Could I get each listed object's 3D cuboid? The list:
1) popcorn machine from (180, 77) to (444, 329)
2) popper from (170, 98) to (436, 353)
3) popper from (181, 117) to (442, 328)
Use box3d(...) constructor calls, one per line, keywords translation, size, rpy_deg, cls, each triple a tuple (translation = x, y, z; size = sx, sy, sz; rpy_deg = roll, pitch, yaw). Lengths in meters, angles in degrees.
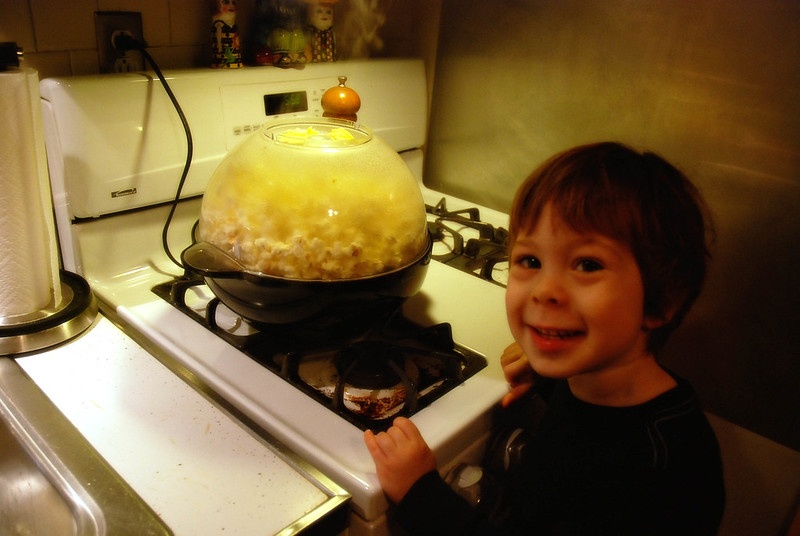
box3d(translation=(-0.214, -0.138, 1.094), size=(0.349, 0.294, 0.445), rpy_deg=(-8, 23, -41), cls="popcorn machine")
box3d(translation=(-0.166, -0.081, 1.107), size=(0.394, 0.343, 0.491), rpy_deg=(16, 24, 25), cls="popper")
box3d(translation=(-0.195, -0.074, 1.061), size=(0.458, 0.290, 0.369), rpy_deg=(-13, 29, -37), cls="popper")
